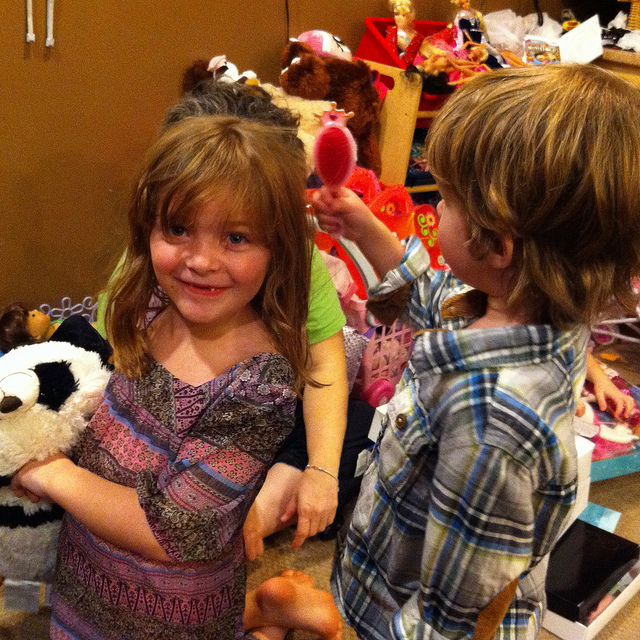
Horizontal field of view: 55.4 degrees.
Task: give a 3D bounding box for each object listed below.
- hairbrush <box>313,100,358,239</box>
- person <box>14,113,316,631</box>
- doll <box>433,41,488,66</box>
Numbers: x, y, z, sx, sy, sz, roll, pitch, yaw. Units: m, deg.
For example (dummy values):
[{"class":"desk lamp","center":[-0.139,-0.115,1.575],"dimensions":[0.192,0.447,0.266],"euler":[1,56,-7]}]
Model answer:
[{"class":"hairbrush","center":[0.022,-0.242,0.981],"dimensions":[0.071,0.216,0.037],"euler":[0,-14,3]},{"class":"person","center":[-0.229,0.093,0.904],"dimensions":[0.422,0.731,0.348],"euler":[-1,24,0]},{"class":"doll","center":[0.487,-0.914,2.090],"dimensions":[0.118,0.076,0.290],"euler":[11,27,24]}]
